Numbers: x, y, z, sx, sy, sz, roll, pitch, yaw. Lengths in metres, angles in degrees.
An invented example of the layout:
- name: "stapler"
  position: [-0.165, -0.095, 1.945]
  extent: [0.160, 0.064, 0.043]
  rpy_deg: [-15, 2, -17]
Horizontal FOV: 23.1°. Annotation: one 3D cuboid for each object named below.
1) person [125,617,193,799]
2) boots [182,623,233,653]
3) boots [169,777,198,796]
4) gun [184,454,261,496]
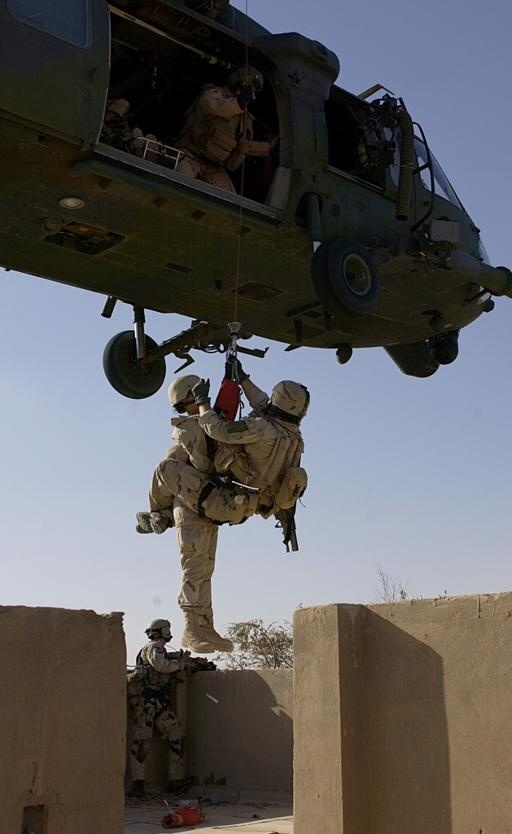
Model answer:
- name: "person"
  position: [-0.788, 2.272, 9.785]
  extent: [0.418, 1.303, 0.793]
  rpy_deg: [-5, -6, 13]
- name: "boots"
  position: [-0.375, 1.684, 9.520]
  extent: [0.378, 0.206, 0.479]
  rpy_deg: [-3, -5, -4]
- name: "boots"
  position: [-0.597, 2.876, 9.743]
  extent: [0.202, 0.091, 0.313]
  rpy_deg: [-5, -6, 17]
- name: "gun"
  position: [-0.259, 0.508, 9.756]
  extent: [0.442, 0.153, 0.305]
  rpy_deg: [26, 10, -3]
